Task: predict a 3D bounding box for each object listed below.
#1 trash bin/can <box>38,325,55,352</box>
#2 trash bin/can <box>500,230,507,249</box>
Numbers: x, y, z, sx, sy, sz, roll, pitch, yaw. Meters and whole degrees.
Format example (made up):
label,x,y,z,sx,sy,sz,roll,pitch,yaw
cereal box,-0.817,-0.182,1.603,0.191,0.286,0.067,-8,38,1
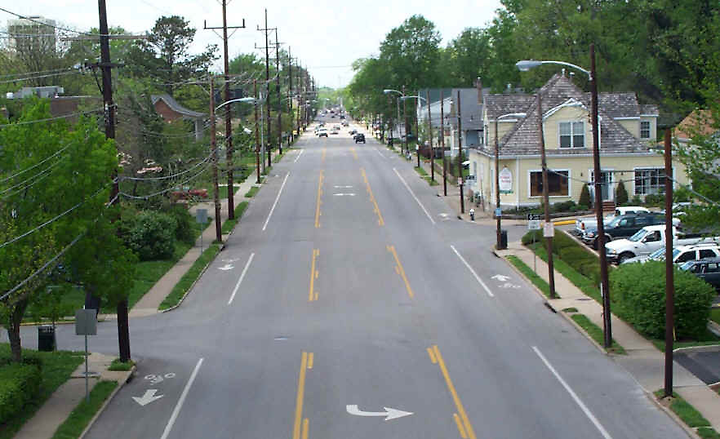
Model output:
label,x,y,z,sx,sy,sz,roll,pitch,yaw
trash bin/can,-16.904,6.345,38.657,0.870,1.275,0.693,-3,11,-15
trash bin/can,10.715,1.448,53.381,0.474,1.360,1.221,2,10,13
